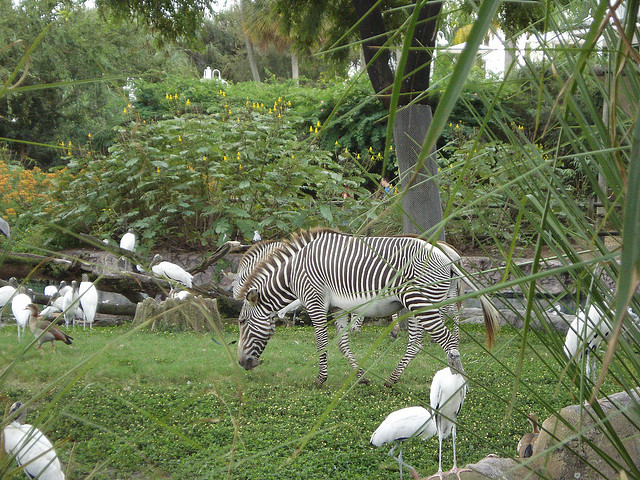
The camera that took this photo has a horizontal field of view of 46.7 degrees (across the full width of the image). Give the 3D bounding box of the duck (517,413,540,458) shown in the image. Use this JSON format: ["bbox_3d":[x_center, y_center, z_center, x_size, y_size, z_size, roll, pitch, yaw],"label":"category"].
[{"bbox_3d":[1.647,1.490,5.817,0.154,0.389,0.590,2,9,16],"label":"duck"}]

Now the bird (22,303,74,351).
[{"bbox_3d":[-3.103,0.997,8.424,0.596,0.512,0.225,11,4,-8],"label":"bird"}]

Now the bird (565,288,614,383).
[{"bbox_3d":[1.583,0.566,4.325,0.110,0.492,0.246,4,-8,-32],"label":"bird"}]

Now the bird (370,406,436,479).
[{"bbox_3d":[0.708,1.593,5.754,0.505,0.496,0.474,-4,10,-27],"label":"bird"}]

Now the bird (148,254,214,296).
[{"bbox_3d":[-1.960,0.505,10.527,0.908,0.586,0.241,5,3,-4],"label":"bird"}]

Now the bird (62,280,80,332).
[{"bbox_3d":[-3.280,0.827,9.704,0.253,0.640,0.183,17,15,25],"label":"bird"}]

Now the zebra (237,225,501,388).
[{"bbox_3d":[0.450,0.783,8.233,2.990,1.905,0.734,-1,8,15],"label":"zebra"}]

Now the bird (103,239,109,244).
[{"bbox_3d":[-3.083,0.023,10.652,0.091,0.027,0.089,7,7,41],"label":"bird"}]

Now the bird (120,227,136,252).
[{"bbox_3d":[-2.911,0.004,11.261,0.171,0.328,0.564,5,26,-3],"label":"bird"}]

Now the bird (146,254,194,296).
[{"bbox_3d":[-2.094,0.507,10.545,0.644,0.575,0.334,6,4,-8],"label":"bird"}]

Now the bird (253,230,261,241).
[{"bbox_3d":[-0.935,-0.082,11.083,0.072,0.190,0.058,24,-40,-24],"label":"bird"}]

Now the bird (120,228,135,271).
[{"bbox_3d":[-2.871,0.198,11.069,0.179,0.665,0.903,-2,9,-15],"label":"bird"}]

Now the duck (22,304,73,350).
[{"bbox_3d":[-3.137,0.991,8.481,0.574,0.498,0.258,9,-1,-1],"label":"duck"}]
